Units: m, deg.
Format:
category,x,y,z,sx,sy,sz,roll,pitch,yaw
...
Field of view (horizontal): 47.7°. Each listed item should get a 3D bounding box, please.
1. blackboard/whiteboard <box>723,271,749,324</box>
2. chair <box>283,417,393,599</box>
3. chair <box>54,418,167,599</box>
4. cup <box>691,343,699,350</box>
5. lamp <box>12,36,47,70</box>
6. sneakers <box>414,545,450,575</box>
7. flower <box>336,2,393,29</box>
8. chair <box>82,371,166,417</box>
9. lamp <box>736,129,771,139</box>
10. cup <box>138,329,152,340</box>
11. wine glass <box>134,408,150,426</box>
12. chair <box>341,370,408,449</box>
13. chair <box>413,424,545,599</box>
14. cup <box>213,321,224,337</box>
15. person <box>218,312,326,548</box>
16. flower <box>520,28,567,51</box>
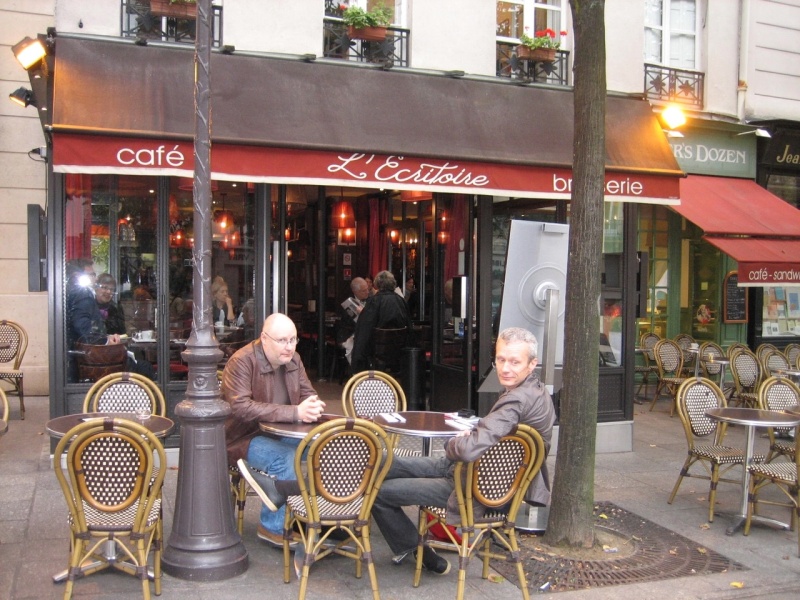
category,x,y,z,sx,sy,sz,roll,pitch,yaw
blackboard/whiteboard,6.050,-0.054,16.339,0.518,0.934,0.145,-2,5,-21
chair,-0.528,1.662,7.527,0.825,1.564,0.981,-2,5,-22
chair,-2.318,1.636,7.352,0.824,1.545,0.887,-2,5,-17
cup,4.907,0.761,15.070,0.113,0.099,0.122,-1,3,0
lamp,-3.818,-2.588,9.355,0.312,0.360,0.318,-2,5,-22
sneakers,0.282,2.226,7.903,0.391,0.171,0.148,20,43,42
flower,-0.433,-3.594,11.391,0.662,0.430,0.598,-1,5,-5
chair,-2.635,0.943,8.602,0.730,0.487,0.853,-1,5,-13
lamp,5.597,-2.670,14.418,0.266,0.199,0.491,-4,7,-36
cup,-2.913,0.400,10.351,0.132,0.111,0.105,9,-16,-31
wine glass,-2.311,1.042,8.148,0.139,0.123,0.146,1,1,30
chair,-0.311,1.110,9.440,0.718,1.035,0.692,0,2,-19
chair,0.686,1.722,7.596,1.055,1.515,0.959,2,5,21
cup,-2.133,0.334,10.714,0.138,0.294,0.146,0,4,0
person,-1.137,1.151,8.359,1.030,2.092,0.828,4,10,40
flower,1.885,-3.446,11.985,0.515,0.266,0.404,-3,14,-22
